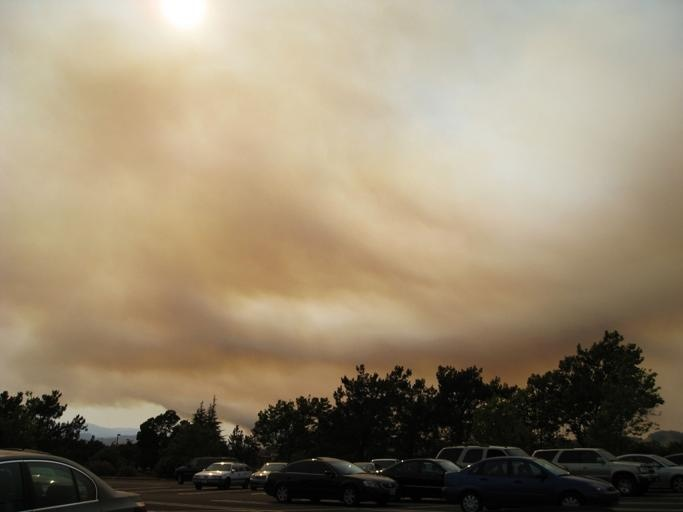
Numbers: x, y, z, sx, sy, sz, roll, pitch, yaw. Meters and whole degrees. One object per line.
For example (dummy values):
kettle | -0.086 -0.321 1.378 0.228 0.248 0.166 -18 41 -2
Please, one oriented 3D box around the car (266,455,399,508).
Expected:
car | -0.229 10.855 36.107 5.568 1.755 2.509 -12 -21 32
